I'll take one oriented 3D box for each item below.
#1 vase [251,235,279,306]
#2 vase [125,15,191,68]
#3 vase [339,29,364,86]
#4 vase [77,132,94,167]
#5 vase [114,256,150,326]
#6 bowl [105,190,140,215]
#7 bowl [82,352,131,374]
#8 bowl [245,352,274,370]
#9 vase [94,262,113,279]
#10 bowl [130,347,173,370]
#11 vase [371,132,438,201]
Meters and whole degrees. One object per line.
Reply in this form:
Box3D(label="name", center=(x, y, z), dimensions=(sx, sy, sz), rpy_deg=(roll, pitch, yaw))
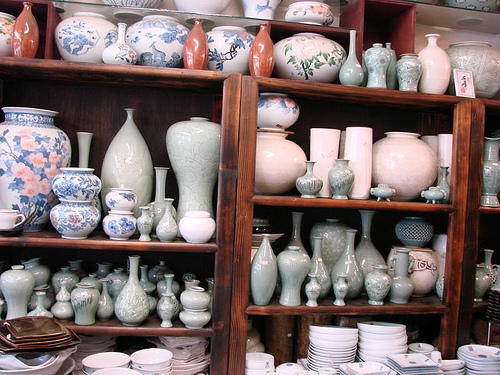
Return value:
Box3D(label="vase", center=(0.097, 0.422, 2.281), dimensions=(0.107, 0.350, 0.191), rpy_deg=(-1, 0, 28))
Box3D(label="vase", center=(-0.472, -0.736, 2.354), dimensions=(0.282, 0.266, 0.292), rpy_deg=(2, 2, 12))
Box3D(label="vase", center=(0.537, -0.688, 2.347), dimensions=(0.117, 0.306, 0.061), rpy_deg=(0, 0, -13))
Box3D(label="vase", center=(-0.889, -0.203, 2.390), dimensions=(0.075, 0.190, 0.076), rpy_deg=(0, -1, -29))
Box3D(label="vase", center=(-0.578, 0.513, 2.202), dimensions=(0.171, 0.332, 0.147), rpy_deg=(0, 0, -25))
Box3D(label="bowl", center=(-0.648, 0.072, 2.246), dimensions=(0.170, 0.123, 0.160), rpy_deg=(-3, 1, 0))
Box3D(label="bowl", center=(-0.673, 0.840, 2.099), dimensions=(0.193, 0.059, 0.177), rpy_deg=(0, 0, 0))
Box3D(label="bowl", center=(0.052, 0.901, 2.279), dimensions=(0.139, 0.087, 0.188), rpy_deg=(0, 0, 4))
Box3D(label="vase", center=(-0.784, 0.450, 2.387), dimensions=(0.071, 0.073, 0.073), rpy_deg=(6, -1, 26))
Box3D(label="bowl", center=(-0.471, 0.835, 2.144), dimensions=(0.203, 0.062, 0.162), rpy_deg=(0, 0, -15))
Box3D(label="vase", center=(0.841, -0.098, 2.582), dimensions=(0.371, 0.385, 0.409), rpy_deg=(3, 3, 36))
